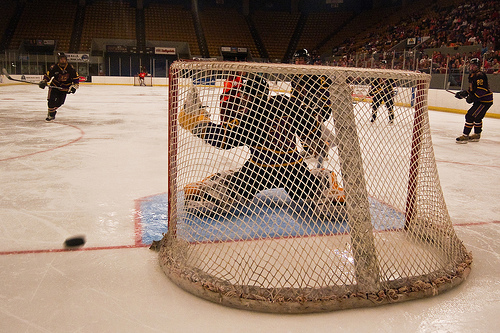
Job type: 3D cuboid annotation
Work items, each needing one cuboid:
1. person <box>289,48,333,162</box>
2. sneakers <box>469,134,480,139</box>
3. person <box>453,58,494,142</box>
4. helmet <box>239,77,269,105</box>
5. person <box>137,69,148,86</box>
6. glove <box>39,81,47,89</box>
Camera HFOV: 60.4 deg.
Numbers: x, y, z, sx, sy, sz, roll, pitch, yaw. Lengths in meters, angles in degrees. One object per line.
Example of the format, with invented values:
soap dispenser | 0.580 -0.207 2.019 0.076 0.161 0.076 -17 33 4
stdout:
person | 0.526 -0.414 3.579 0.390 0.920 1.004 4 10 10
sneakers | 4.357 -0.576 8.300 0.238 0.098 0.094 -11 15 -22
person | 4.392 -1.215 8.348 0.589 1.437 1.183 7 10 24
helmet | 0.066 -0.629 3.672 0.212 0.279 0.281 -7 32 -11
person | -5.941 -4.967 23.792 0.482 0.952 1.265 0 10 -14
glove | -4.870 -1.914 10.101 0.157 0.054 0.206 9 -18 -14
